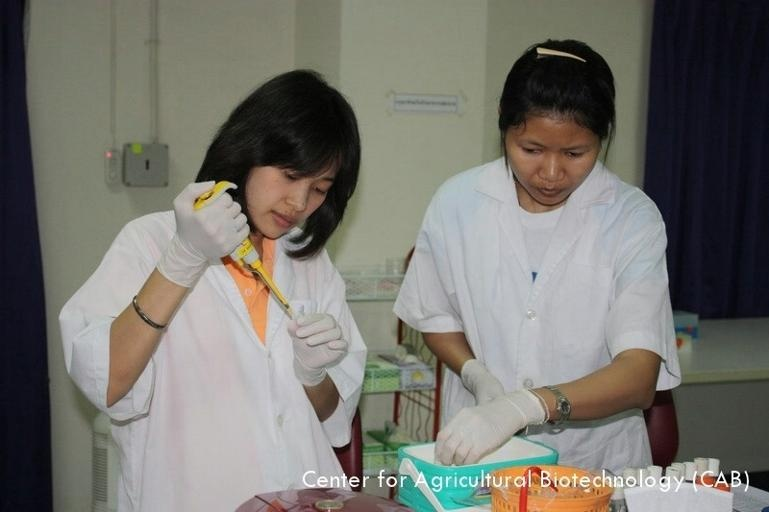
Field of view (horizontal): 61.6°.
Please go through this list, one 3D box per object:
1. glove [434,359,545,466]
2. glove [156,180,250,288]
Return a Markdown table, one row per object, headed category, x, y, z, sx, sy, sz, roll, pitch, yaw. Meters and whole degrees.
| category | x | y | z | sx | sy | sz | roll | pitch | yaw |
| --- | --- | --- | --- | --- | --- | --- | --- | --- | --- |
| glove | 0.308 | 0.457 | 1.928 | 0.230 | 0.075 | 0.243 | -12 | 34 | -8 |
| glove | -0.569 | -0.060 | 2.058 | 0.188 | 0.275 | 0.179 | 40 | 22 | 13 |
